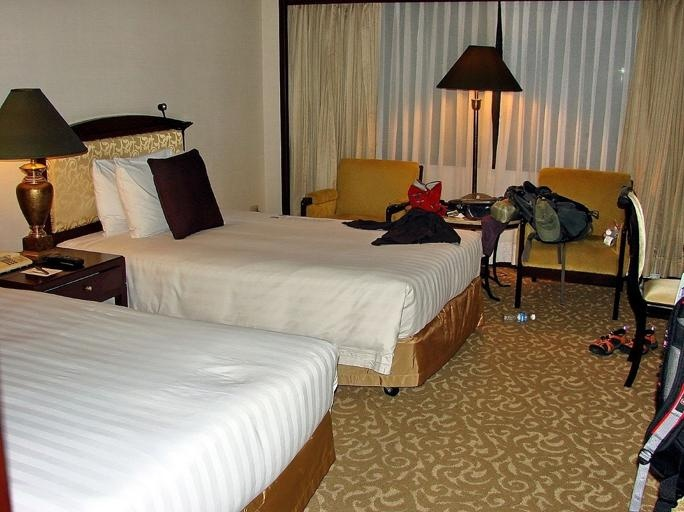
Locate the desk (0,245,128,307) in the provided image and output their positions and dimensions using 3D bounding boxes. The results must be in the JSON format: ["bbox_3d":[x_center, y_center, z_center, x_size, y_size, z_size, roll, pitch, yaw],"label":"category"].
[{"bbox_3d":[-1.943,0.134,3.505,0.529,0.392,0.499,10,20,23],"label":"desk"}]

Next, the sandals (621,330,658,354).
[{"bbox_3d":[2.510,0.736,4.205,0.460,0.195,0.223,-6,5,-44],"label":"sandals"}]

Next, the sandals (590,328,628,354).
[{"bbox_3d":[2.286,0.716,4.206,0.405,0.172,0.166,-12,18,-32],"label":"sandals"}]

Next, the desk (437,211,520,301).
[{"bbox_3d":[1.539,-0.028,5.145,0.729,0.602,0.658,7,3,-11],"label":"desk"}]

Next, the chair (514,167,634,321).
[{"bbox_3d":[2.397,-0.193,5.038,1.210,1.289,1.215,-1,17,7],"label":"chair"}]

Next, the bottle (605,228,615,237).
[{"bbox_3d":[2.601,-0.227,4.795,0.079,0.061,0.132,7,18,26],"label":"bottle"}]

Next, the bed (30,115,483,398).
[{"bbox_3d":[-0.579,-0.128,4.344,3.334,2.022,2.149,4,18,18],"label":"bed"}]

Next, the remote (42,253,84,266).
[{"bbox_3d":[-1.963,0.031,3.496,0.227,0.054,0.124,7,15,11],"label":"remote"}]

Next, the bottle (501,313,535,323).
[{"bbox_3d":[1.707,0.596,4.727,0.152,0.046,0.151,-2,3,0],"label":"bottle"}]
